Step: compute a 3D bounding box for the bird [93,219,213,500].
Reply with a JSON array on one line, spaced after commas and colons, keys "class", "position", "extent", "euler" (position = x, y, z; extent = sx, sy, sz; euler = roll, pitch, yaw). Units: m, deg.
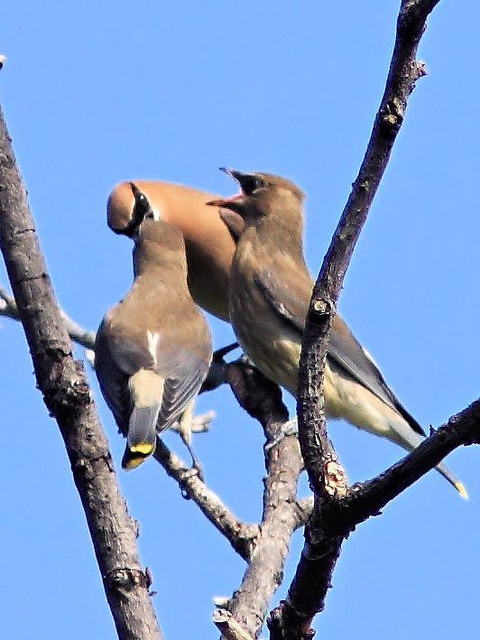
[{"class": "bird", "position": [-0.324, 0.155, 4.771], "extent": [0.373, 1.396, 0.963], "euler": [-2, -25, 1]}]

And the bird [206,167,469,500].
[{"class": "bird", "position": [0.397, 0.074, 5.571], "extent": [1.027, 1.583, 0.496], "euler": [5, -29, 1]}]
